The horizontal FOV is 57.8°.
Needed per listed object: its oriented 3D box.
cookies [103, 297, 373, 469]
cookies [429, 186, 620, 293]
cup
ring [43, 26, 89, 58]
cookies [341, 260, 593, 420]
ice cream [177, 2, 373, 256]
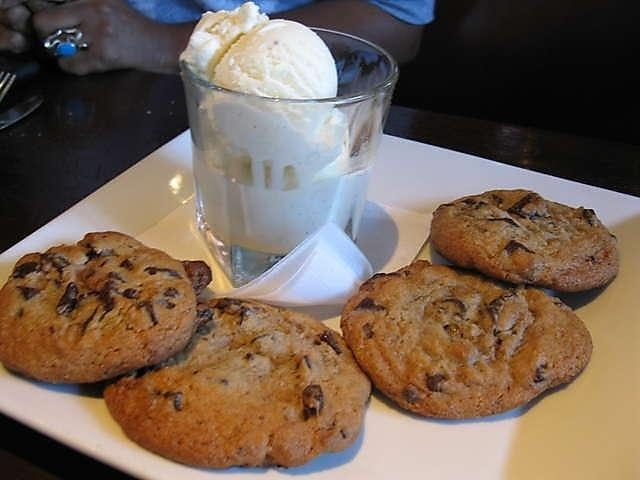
[{"bbox_3d":[-0.133,0.228,0.969,0.427,0.073,0.304,11,54,6],"label":"cookies"},{"bbox_3d":[0.399,0.015,1.126,0.254,0.087,0.246,7,35,7],"label":"cookies"},{"bbox_3d":[-0.031,-0.155,1.293,0.413,0.542,0.500,13,34,14],"label":"cup"},{"bbox_3d":[-0.863,-0.673,1.990,0.119,0.040,0.111,0,82,2],"label":"ring"},{"bbox_3d":[0.256,0.163,1.071,0.459,0.089,0.376,10,30,24],"label":"cookies"},{"bbox_3d":[-0.100,-0.278,1.313,0.468,0.544,0.479,0,37,-14],"label":"ice cream"}]
